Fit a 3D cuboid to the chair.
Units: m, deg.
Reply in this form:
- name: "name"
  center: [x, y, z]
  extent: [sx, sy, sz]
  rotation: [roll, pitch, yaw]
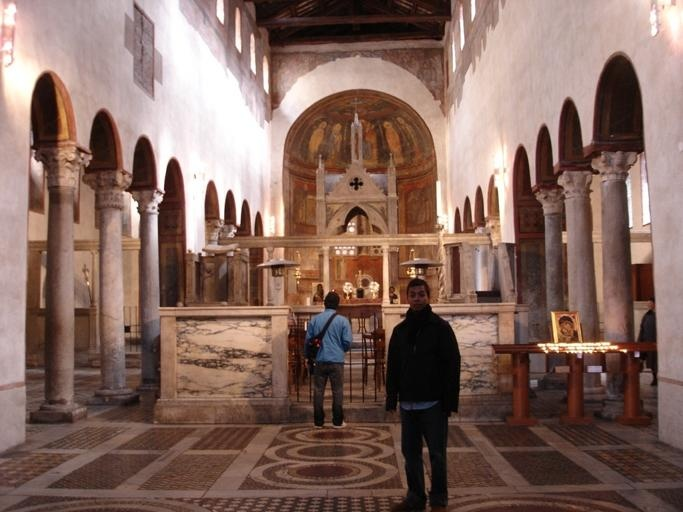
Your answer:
- name: "chair"
  center: [-0.039, 2.388, 13.759]
  extent: [1.951, 1.340, 2.032]
  rotation: [0, -4, 0]

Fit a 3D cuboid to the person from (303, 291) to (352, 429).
- name: "person"
  center: [-0.206, 1.625, 10.260]
  extent: [0.714, 2.116, 0.449]
  rotation: [1, -5, -1]

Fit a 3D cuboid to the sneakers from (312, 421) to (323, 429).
- name: "sneakers"
  center: [-0.365, 2.683, 10.404]
  extent: [0.104, 0.091, 0.133]
  rotation: [5, -9, -25]

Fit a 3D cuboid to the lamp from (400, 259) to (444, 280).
- name: "lamp"
  center: [2.945, 0.457, 23.295]
  extent: [0.989, 0.660, 1.033]
  rotation: [-3, -6, 30]
